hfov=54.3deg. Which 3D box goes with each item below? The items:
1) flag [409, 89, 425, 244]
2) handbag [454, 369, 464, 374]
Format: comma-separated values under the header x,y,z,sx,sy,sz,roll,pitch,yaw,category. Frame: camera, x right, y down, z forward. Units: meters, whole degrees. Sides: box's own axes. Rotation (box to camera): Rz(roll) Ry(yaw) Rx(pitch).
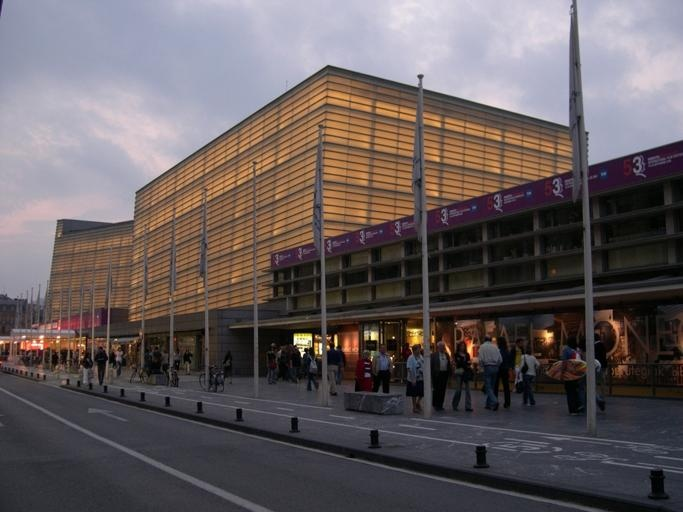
x,y,z,sx,sy,sz,roll,pitch,yaw,category
2.534,-3.197,21.709,0.517,4.895,0.576,1,-4,-18,flag
3.856,3.767,21.768,0.224,0.174,0.176,-3,-15,13,handbag
